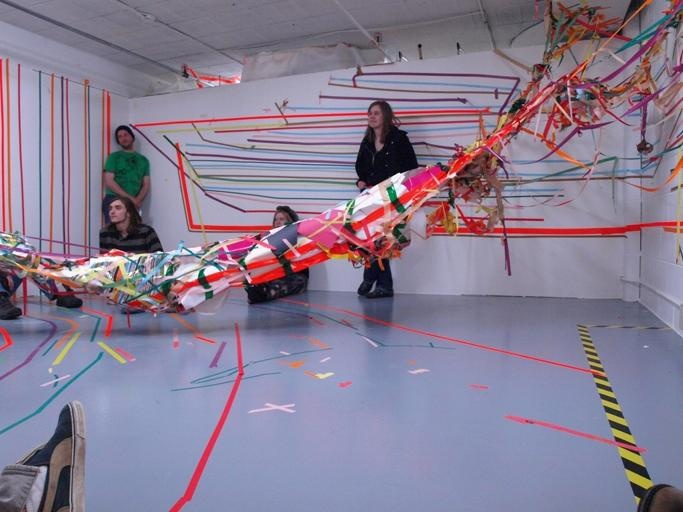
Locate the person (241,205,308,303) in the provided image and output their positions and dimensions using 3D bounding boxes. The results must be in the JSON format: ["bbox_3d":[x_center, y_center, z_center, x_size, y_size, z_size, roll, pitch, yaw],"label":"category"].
[{"bbox_3d":[-0.554,0.050,4.025,0.716,0.804,0.317,0,-21,4],"label":"person"}]

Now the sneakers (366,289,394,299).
[{"bbox_3d":[0.359,0.350,4.049,0.270,0.105,0.085,3,-1,-6],"label":"sneakers"}]

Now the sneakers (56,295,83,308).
[{"bbox_3d":[-2.235,0.371,3.579,0.278,0.104,0.097,0,-1,16],"label":"sneakers"}]

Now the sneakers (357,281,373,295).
[{"bbox_3d":[0.216,0.302,4.113,0.077,0.176,0.085,23,11,24],"label":"sneakers"}]

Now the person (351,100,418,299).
[{"bbox_3d":[0.404,-0.516,4.054,0.531,1.781,0.437,-1,9,0],"label":"person"}]
